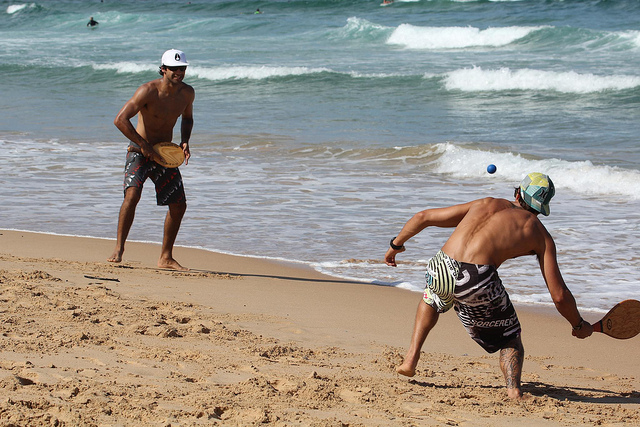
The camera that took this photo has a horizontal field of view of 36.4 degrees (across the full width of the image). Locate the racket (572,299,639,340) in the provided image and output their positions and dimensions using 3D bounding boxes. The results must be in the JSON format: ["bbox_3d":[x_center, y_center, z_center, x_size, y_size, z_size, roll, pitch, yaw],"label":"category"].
[{"bbox_3d":[3.339,1.184,10.892,0.578,0.486,0.136,2,15,-17],"label":"racket"}]

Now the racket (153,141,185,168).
[{"bbox_3d":[-2.031,-0.794,13.063,0.457,0.349,0.222,2,14,-14],"label":"racket"}]
